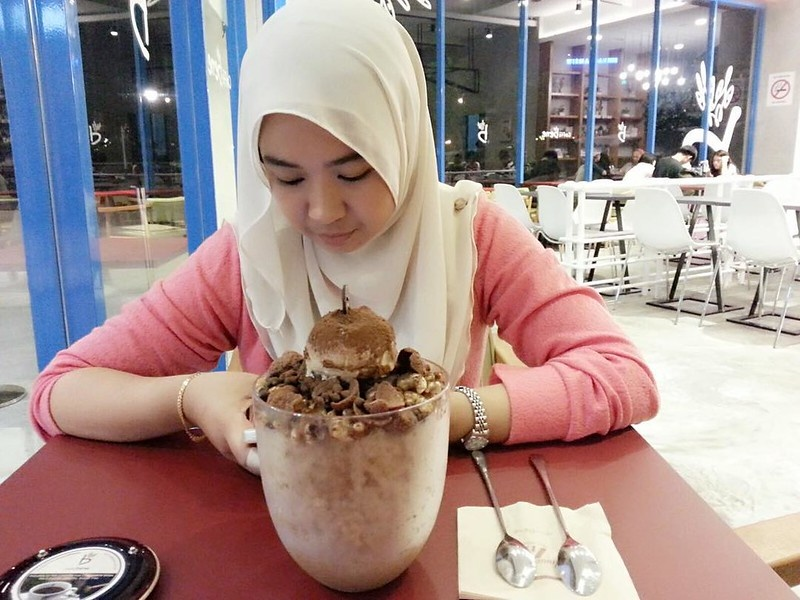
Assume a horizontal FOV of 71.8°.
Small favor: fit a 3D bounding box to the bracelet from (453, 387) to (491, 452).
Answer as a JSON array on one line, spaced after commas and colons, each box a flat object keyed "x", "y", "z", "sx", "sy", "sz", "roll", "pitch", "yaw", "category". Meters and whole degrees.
[{"x": 0.122, "y": 0.196, "z": 0.914, "sx": 0.053, "sy": 0.076, "sz": 0.084, "roll": 1, "pitch": -29, "yaw": -42, "category": "bracelet"}]

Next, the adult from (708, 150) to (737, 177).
[{"x": 4.670, "y": -1.968, "z": 7.939, "sx": 0.307, "sy": 0.363, "sz": 1.316, "roll": 6, "pitch": 14, "yaw": 29, "category": "adult"}]

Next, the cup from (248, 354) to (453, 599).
[{"x": -0.055, "y": 0.182, "z": 0.651, "sx": 0.190, "sy": 0.230, "sz": 0.210, "roll": -2, "pitch": 0, "yaw": -9, "category": "cup"}]

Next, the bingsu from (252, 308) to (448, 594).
[{"x": -0.016, "y": 0.151, "z": 0.685, "sx": 0.251, "sy": 0.355, "sz": 0.263, "roll": -1, "pitch": 0, "yaw": -8, "category": "bingsu"}]
